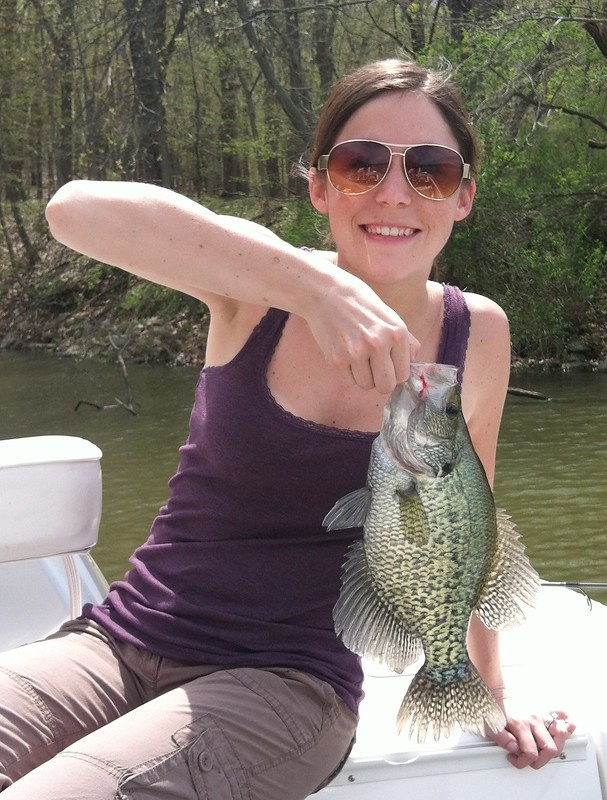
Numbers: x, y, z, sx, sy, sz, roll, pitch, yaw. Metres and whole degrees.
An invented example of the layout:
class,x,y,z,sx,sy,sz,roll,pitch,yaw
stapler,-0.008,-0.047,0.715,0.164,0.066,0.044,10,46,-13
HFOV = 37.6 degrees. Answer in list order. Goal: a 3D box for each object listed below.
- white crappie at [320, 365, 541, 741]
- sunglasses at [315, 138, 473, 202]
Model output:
class,x,y,z,sx,sy,sz,roll,pitch,yaw
white crappie,0.256,0.306,1.751,0.441,0.763,0.196,-8,15,-12
sunglasses,0.193,-0.516,2.023,0.293,0.073,0.163,1,-1,-2
